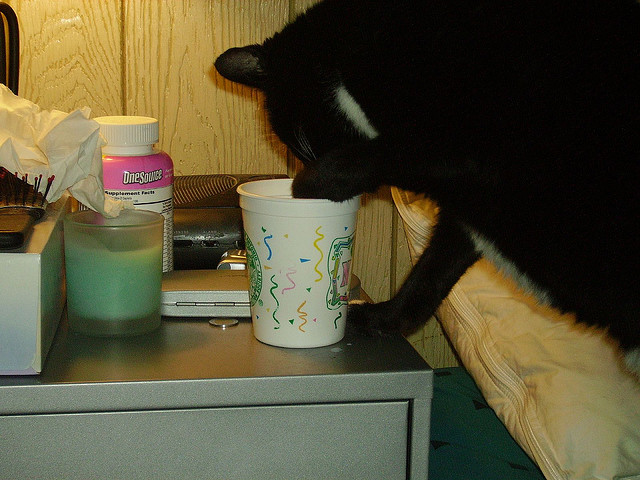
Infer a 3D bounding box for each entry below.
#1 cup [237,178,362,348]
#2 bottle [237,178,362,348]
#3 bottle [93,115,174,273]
[{"bbox_3d":[-0.022,0.020,0.689,0.157,0.190,0.165,0,6,0],"label":"cup"},{"bbox_3d":[-0.022,0.029,0.672,0.140,0.176,0.157,0,7,-10],"label":"bottle"},{"bbox_3d":[-0.246,-0.052,0.734,0.103,0.202,0.102,3,14,-1],"label":"bottle"}]
